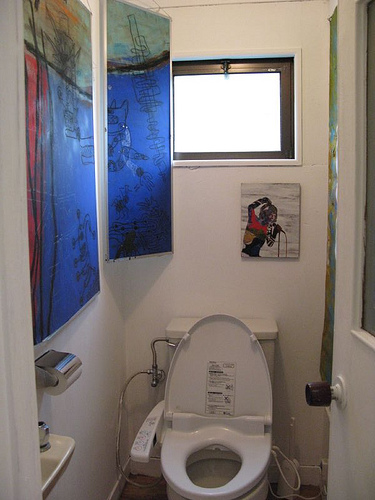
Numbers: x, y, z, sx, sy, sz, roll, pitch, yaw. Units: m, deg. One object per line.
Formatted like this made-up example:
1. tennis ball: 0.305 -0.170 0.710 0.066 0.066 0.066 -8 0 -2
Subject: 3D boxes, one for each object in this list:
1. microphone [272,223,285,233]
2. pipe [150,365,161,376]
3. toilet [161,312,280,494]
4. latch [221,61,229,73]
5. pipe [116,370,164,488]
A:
1. microphone: 0.408 -0.101 1.797 0.049 0.018 0.012 41 4 7
2. pipe: -0.143 0.541 1.855 0.044 0.061 0.039 -2 5 -42
3. toilet: 0.137 0.573 1.622 0.383 0.868 0.692 0 12 2
4. latch: 0.170 -0.829 1.821 0.034 0.060 0.017 4 40 10
5. pipe: -0.227 0.828 1.814 0.021 0.536 0.241 0 -3 -34
